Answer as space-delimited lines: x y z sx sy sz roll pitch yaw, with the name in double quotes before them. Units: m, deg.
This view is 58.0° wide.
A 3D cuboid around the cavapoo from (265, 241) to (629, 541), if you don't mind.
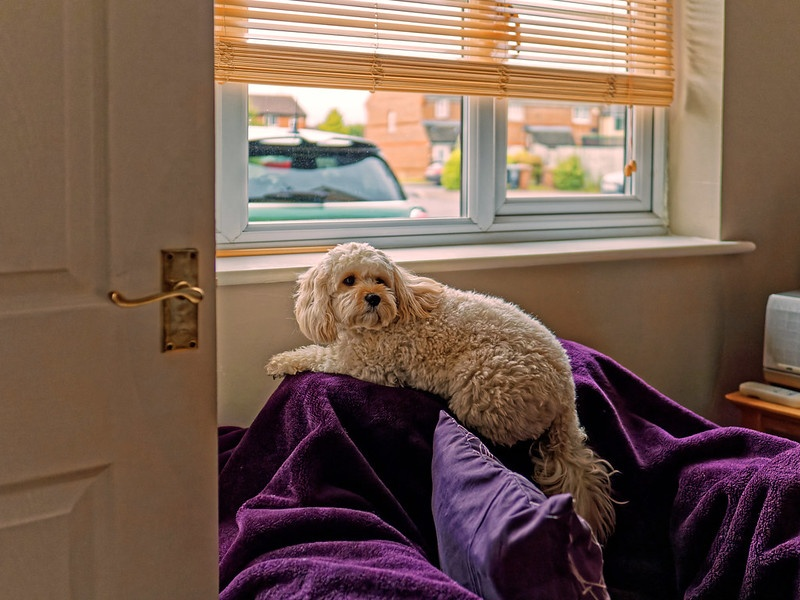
"cavapoo" 0.066 0.090 1.635 0.642 0.620 0.597 -4 10 -17
